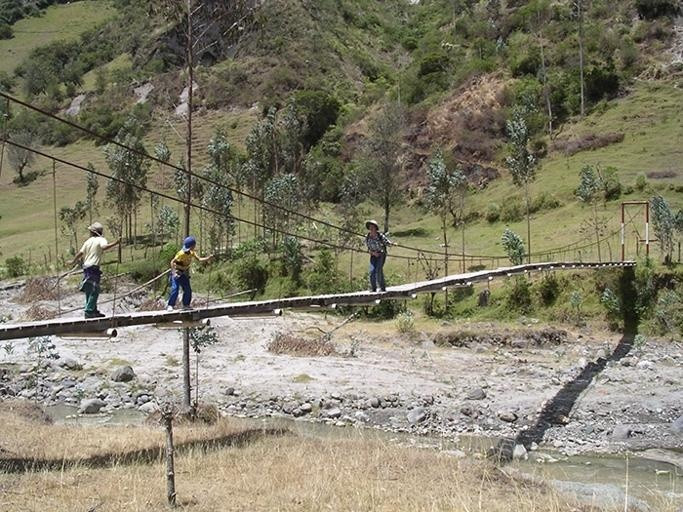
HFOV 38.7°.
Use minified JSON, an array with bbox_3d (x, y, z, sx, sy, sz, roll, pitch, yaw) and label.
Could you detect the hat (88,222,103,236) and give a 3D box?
[{"bbox_3d":[-14.185,-1.505,55.892,0.708,0.433,0.718,3,-5,38],"label":"hat"}]
